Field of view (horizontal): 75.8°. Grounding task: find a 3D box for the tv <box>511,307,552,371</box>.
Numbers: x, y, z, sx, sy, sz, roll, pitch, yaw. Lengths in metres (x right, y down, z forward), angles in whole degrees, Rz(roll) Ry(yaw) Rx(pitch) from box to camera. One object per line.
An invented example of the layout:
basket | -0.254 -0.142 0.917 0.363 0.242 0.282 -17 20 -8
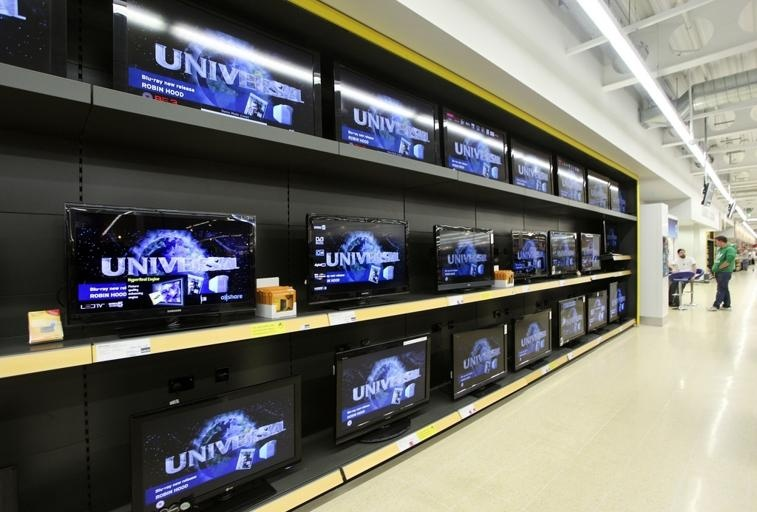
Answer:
tv | 1.649 0.929 5.257 0.686 0.478 0.109 -4 6 -43

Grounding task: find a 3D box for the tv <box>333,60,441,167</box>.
tv | 0.043 -1.136 3.923 0.954 0.491 0.121 3 -10 -36

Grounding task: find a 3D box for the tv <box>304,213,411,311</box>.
tv | -0.124 0.072 3.868 0.872 0.631 0.256 -6 -10 36

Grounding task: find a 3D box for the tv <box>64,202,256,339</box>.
tv | -1.389 0.081 3.211 1.099 0.776 0.289 -1 15 -26

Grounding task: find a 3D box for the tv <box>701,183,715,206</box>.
tv | 5.852 -1.082 8.665 0.280 0.482 0.116 -4 12 -35

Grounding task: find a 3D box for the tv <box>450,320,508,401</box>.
tv | 1.003 1.002 4.594 0.199 0.578 0.803 15 -31 -24

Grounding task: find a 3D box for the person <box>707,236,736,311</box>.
person | 7.030 0.334 9.911 0.373 1.528 1.996 7 15 35

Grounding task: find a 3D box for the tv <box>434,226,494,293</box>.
tv | 0.807 0.036 4.556 0.851 0.584 0.085 -2 1 -43

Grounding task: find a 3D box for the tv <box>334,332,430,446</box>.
tv | 0.014 1.099 3.919 0.972 0.670 0.273 -1 -4 -43
